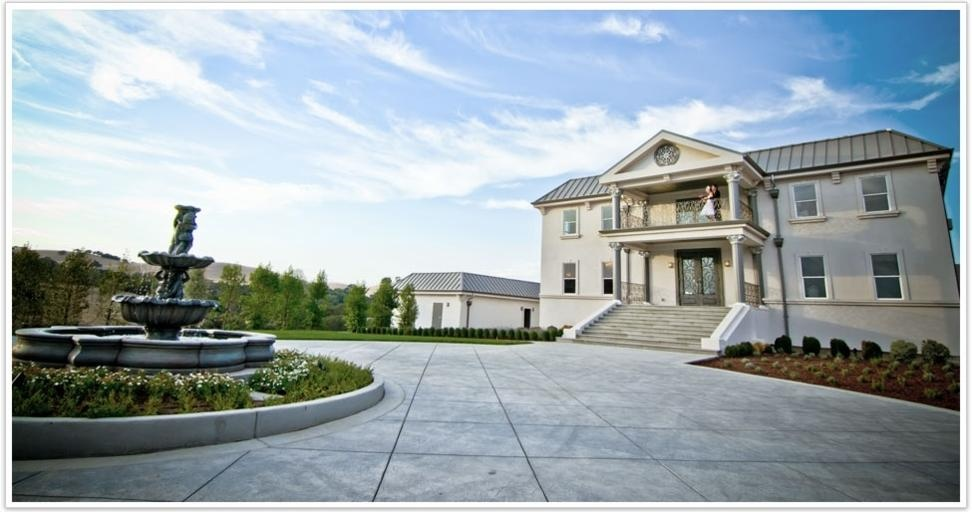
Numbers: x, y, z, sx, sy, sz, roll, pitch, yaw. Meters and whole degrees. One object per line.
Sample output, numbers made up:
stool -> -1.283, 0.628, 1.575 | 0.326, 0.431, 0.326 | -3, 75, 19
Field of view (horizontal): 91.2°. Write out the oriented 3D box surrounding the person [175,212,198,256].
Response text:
person -> -8.752, -0.664, 13.758 | 0.643, 1.080, 0.445 | 3, -2, -24

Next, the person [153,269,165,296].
person -> -9.408, 0.753, 13.705 | 0.496, 0.645, 0.196 | 0, -2, 42

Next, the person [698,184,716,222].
person -> 11.160, -2.674, 23.792 | 0.787, 1.886, 1.283 | 2, -2, -5
